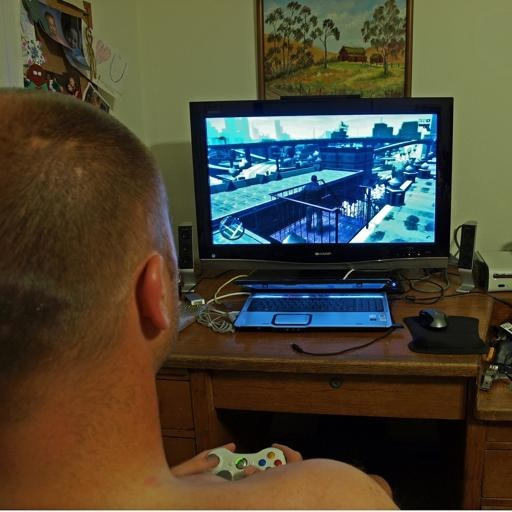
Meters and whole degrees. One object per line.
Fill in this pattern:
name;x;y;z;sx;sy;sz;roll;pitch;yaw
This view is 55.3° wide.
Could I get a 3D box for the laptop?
laptop;0.220;-0.207;1.569;0.762;0.455;0.071;-1;13;2
